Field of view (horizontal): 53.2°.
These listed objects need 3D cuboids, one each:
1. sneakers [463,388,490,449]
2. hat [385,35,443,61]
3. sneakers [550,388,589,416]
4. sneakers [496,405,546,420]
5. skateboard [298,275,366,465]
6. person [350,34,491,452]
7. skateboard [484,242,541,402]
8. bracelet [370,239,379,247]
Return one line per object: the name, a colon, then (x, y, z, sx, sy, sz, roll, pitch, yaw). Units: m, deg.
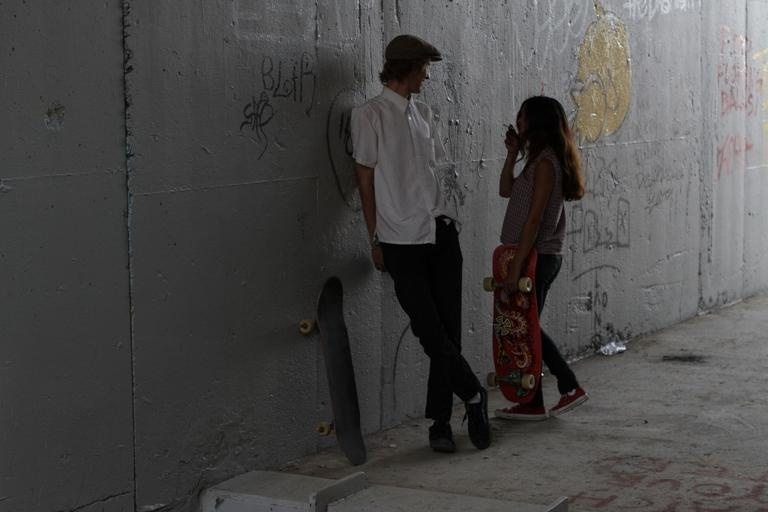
sneakers: (0.613, 1.039, 4.867, 0.134, 0.425, 0.152, -4, 1, 38)
hat: (0.170, -1.253, 4.667, 0.224, 0.102, 0.188, -6, 13, -22)
sneakers: (1.334, 1.058, 5.499, 0.217, 0.102, 0.075, -31, 4, 8)
sneakers: (0.972, 1.103, 5.449, 0.304, 0.141, 0.133, 2, -1, 15)
skateboard: (-0.360, 0.700, 4.761, 0.168, 1.256, 0.327, -11, -6, 37)
person: (0.233, -0.056, 4.789, 0.866, 2.565, 0.378, 1, 6, 9)
skateboard: (0.872, 0.438, 5.107, 0.369, 1.100, 0.148, 4, 11, 43)
bracelet: (-0.060, -0.076, 4.745, 0.037, 0.045, 0.048, -1, -5, 20)
